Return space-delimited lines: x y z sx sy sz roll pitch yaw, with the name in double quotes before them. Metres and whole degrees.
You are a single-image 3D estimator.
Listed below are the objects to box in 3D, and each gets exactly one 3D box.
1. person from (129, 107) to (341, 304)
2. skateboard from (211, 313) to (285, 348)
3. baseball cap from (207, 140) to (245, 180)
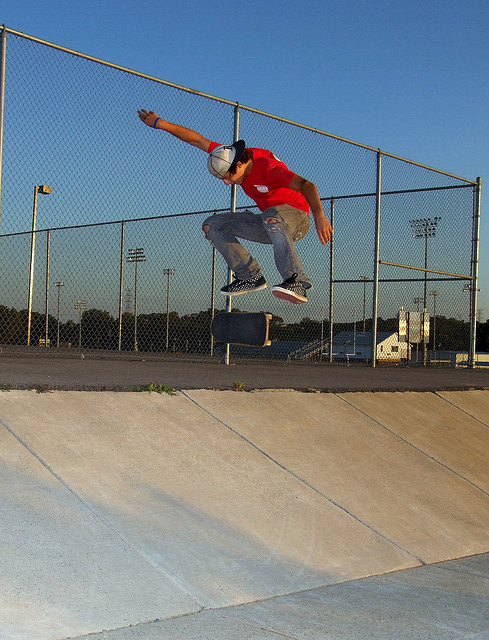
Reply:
"person" 0.076 -0.817 5.087 0.940 1.364 1.688 -4 8 -40
"skateboard" -0.001 0.054 4.863 0.140 0.195 0.604 7 6 -40
"baseball cap" -0.157 -1.085 4.816 0.195 0.144 0.279 -32 33 12
